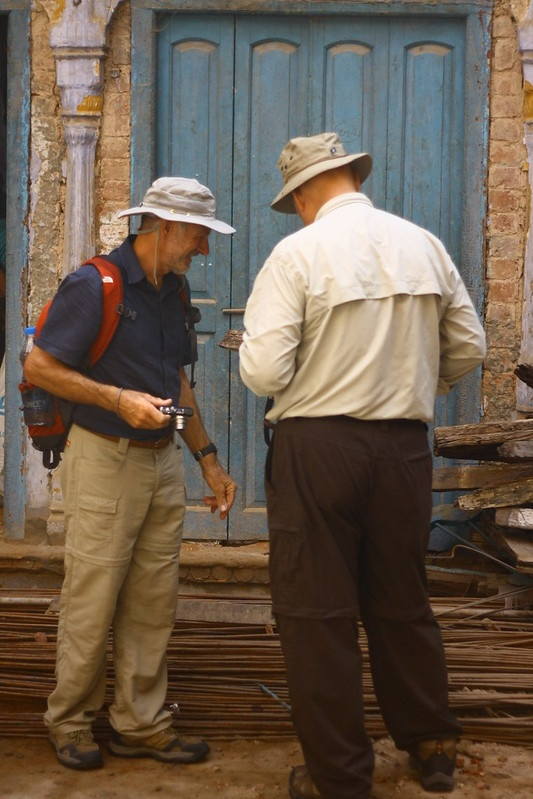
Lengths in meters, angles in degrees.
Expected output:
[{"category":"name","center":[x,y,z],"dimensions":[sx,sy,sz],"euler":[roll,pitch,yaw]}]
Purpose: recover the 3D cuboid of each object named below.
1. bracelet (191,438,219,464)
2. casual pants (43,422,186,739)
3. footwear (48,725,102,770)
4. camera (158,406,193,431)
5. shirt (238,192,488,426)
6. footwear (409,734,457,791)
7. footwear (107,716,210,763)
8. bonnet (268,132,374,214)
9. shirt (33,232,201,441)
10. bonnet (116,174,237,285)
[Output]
[{"category":"bracelet","center":[-0.251,0.215,4.898],"dimensions":[0.111,0.071,0.104],"euler":[-36,-20,27]},{"category":"casual pants","center":[-0.572,0.716,4.641],"dimensions":[0.514,1.381,0.398],"euler":[13,-28,-31]},{"category":"footwear","center":[-0.751,1.362,4.460],"dimensions":[0.102,0.108,0.229],"euler":[11,-11,-36]},{"category":"camera","center":[-0.386,0.067,4.345],"dimensions":[0.197,0.101,0.054],"euler":[1,11,17]},{"category":"shirt","center":[0.338,-0.365,4.296],"dimensions":[0.980,0.843,0.599],"euler":[-5,5,-22]},{"category":"footwear","center":[0.645,1.363,4.260],"dimensions":[0.100,0.105,0.252],"euler":[0,3,4]},{"category":"footwear","center":[-0.420,1.366,4.624],"dimensions":[0.430,0.190,0.149],"euler":[3,-7,0]},{"category":"bonnet","center":[0.196,-0.890,4.369],"dimensions":[0.423,0.243,0.469],"euler":[-14,2,3]},{"category":"shirt","center":[-0.545,-0.324,4.539],"dimensions":[0.213,0.674,0.766],"euler":[4,3,43]},{"category":"bonnet","center":[-0.401,-0.684,4.599],"dimensions":[0.453,0.396,0.407],"euler":[5,25,-14]}]
